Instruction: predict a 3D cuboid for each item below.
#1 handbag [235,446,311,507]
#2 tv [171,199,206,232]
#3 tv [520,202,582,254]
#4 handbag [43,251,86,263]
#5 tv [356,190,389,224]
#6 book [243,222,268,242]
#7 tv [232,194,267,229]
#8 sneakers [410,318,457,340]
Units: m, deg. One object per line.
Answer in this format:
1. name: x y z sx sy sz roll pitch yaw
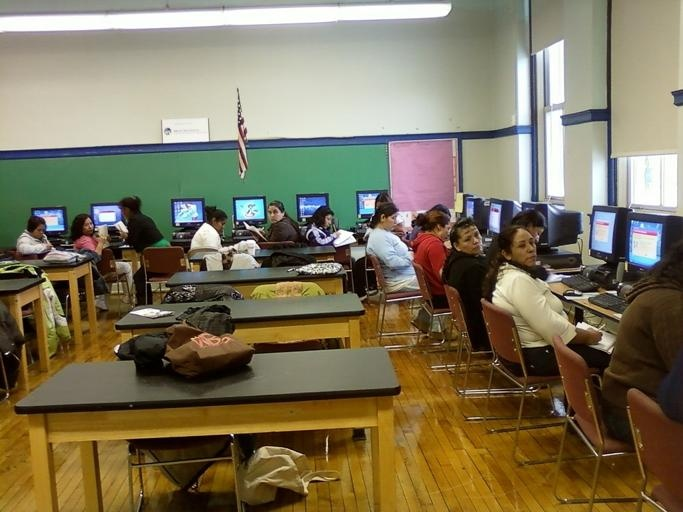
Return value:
1. handbag: -0.360 1.156 2.669 0.334 0.132 0.269 8 37 4
2. tv: -2.454 -0.695 8.435 0.755 0.697 0.396 0 3 -4
3. tv: 2.282 -0.313 5.422 0.565 0.546 0.599 -1 3 -1
4. handbag: -3.026 0.008 5.492 0.226 0.075 0.235 2 2 -1
5. tv: 0.424 -0.859 8.179 0.710 0.702 0.442 0 1 -1
6. book: -1.331 -0.386 7.890 0.401 0.215 0.281 26 3 -23
7. tv: -1.455 -0.724 8.462 0.791 0.707 0.439 -1 3 -7
8. sneakers: 1.031 0.774 5.361 0.352 0.114 0.271 1 8 -13
